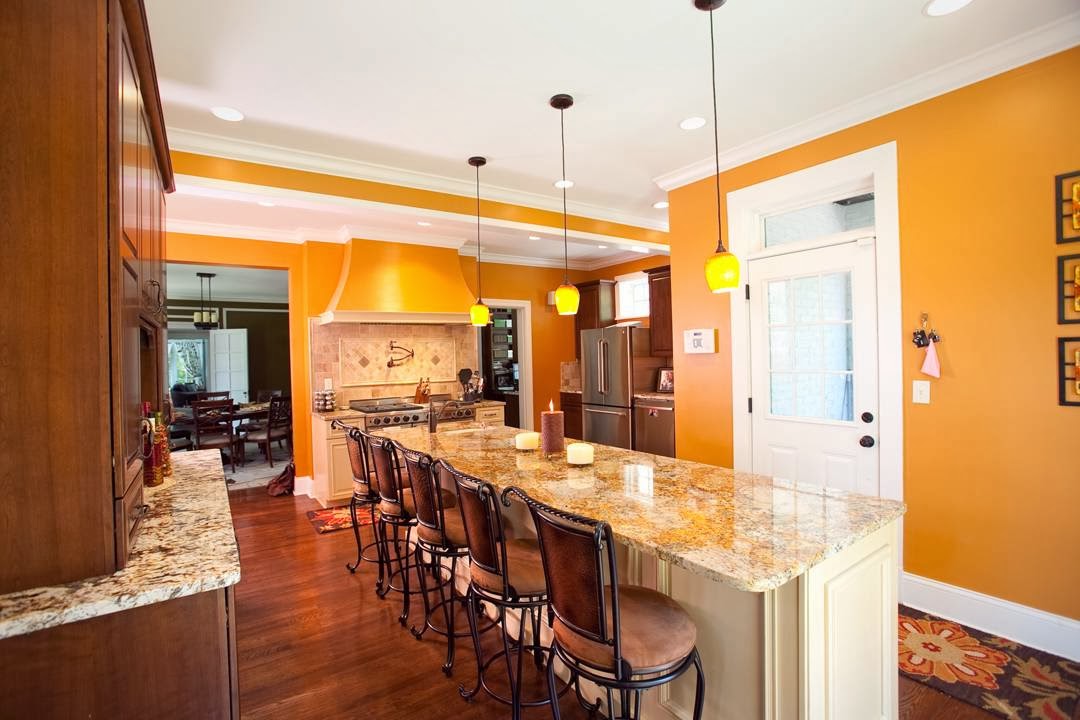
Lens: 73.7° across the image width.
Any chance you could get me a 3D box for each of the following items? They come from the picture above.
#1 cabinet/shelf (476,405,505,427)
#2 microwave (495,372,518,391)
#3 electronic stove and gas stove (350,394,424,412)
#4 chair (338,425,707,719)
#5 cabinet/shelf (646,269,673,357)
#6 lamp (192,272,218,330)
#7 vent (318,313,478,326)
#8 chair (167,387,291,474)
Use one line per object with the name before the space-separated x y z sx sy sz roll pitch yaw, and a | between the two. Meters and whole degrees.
cabinet/shelf | -0.543 0.565 7.715 0.356 0.228 0.194 0 1 -23
microwave | -0.478 0.285 10.157 0.281 0.229 0.294 0 1 -18
electronic stove and gas stove | -1.566 0.450 7.429 0.702 0.107 0.747 0 1 -26
chair | -0.132 1.251 4.118 0.719 1.451 1.540 -3 3 -33
cabinet/shelf | 1.265 -0.485 7.400 0.196 0.913 0.342 0 1 -14
lamp | -4.854 -0.836 10.496 0.291 0.728 2.260 0 1 -24
vent | -1.536 -0.441 7.618 1.553 0.145 0.441 0 1 -34
chair | -3.823 0.777 8.832 1.247 0.797 1.413 0 3 -36
